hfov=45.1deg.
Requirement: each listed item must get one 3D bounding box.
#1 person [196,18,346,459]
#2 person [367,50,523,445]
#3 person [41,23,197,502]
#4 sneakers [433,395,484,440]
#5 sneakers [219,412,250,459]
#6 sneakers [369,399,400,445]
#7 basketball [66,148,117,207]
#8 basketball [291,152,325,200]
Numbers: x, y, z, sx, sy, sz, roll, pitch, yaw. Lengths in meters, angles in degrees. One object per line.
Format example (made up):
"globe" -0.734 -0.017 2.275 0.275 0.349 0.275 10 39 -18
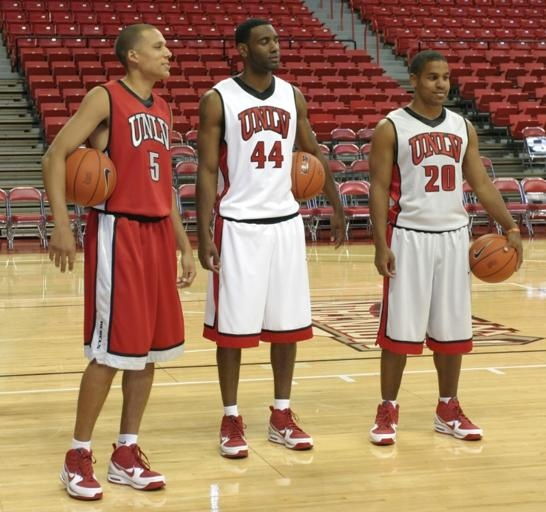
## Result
"person" -0.014 -0.103 2.644 0.595 1.657 0.388 -7 12 -24
"person" 0.683 -0.036 2.749 0.639 1.628 0.476 -3 11 -2
"person" -0.498 0.009 2.253 0.582 1.607 0.398 -10 13 -34
"sneakers" 0.804 0.678 2.744 0.088 0.178 0.256 3 -3 -35
"sneakers" -0.157 0.703 2.587 0.108 0.141 0.181 -4 11 -7
"sneakers" 0.455 0.679 2.701 0.115 0.133 0.162 -1 11 8
"basketball" -0.589 -0.242 2.134 0.167 0.218 0.169 4 4 -30
"basketball" 0.139 -0.339 2.714 0.136 0.179 0.139 23 -3 -16
